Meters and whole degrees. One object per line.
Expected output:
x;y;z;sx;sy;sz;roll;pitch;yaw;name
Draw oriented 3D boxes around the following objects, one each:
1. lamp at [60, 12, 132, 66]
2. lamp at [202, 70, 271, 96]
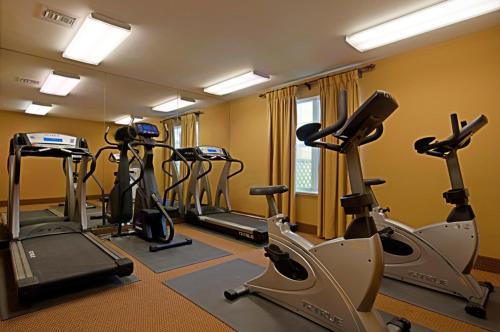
-2.356;-1.918;5.329;0.613;0.365;1.387;0;2;-43;lamp
-0.239;-1.649;6.973;1.452;0.207;0.622;2;2;42;lamp
